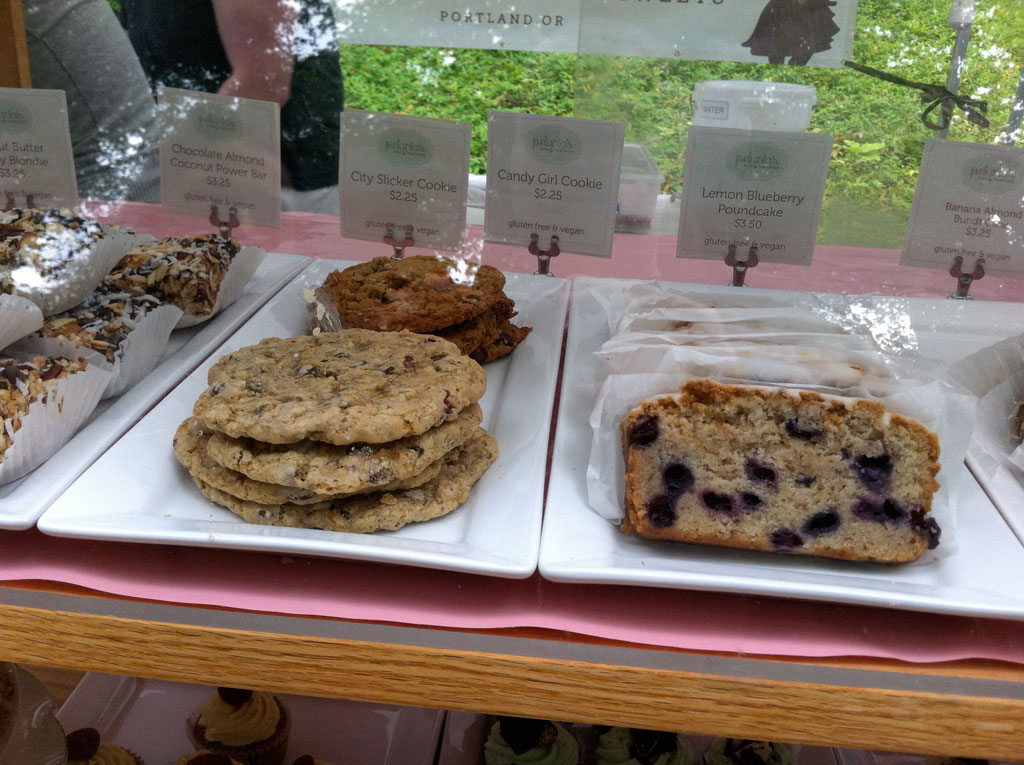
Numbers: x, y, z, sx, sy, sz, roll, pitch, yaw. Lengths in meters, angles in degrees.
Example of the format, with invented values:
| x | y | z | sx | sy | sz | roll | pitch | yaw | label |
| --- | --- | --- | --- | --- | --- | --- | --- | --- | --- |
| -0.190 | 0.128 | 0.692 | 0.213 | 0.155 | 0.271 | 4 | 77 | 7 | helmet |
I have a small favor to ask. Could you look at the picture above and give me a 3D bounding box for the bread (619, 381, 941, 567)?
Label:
| x | y | z | sx | sy | sz | roll | pitch | yaw | label |
| --- | --- | --- | --- | --- | --- | --- | --- | --- | --- |
| 0.328 | 0.119 | 0.991 | 0.391 | 0.216 | 0.108 | 5 | -10 | 5 | bread |
